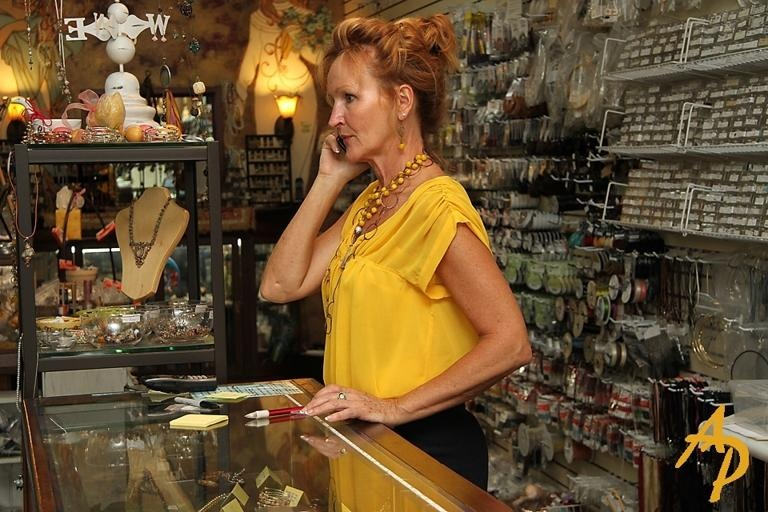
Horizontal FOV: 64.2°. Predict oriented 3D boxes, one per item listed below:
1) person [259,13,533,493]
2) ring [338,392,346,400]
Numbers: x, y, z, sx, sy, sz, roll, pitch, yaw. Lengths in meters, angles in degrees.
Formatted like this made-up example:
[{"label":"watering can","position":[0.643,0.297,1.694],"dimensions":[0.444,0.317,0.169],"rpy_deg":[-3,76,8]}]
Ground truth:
[{"label":"person","position":[-0.003,-0.157,1.825],"dimensions":[0.571,1.071,0.816],"rpy_deg":[-6,11,-19]},{"label":"ring","position":[-0.107,0.355,1.551],"dimensions":[0.021,0.011,0.018],"rpy_deg":[-3,11,-1]}]
